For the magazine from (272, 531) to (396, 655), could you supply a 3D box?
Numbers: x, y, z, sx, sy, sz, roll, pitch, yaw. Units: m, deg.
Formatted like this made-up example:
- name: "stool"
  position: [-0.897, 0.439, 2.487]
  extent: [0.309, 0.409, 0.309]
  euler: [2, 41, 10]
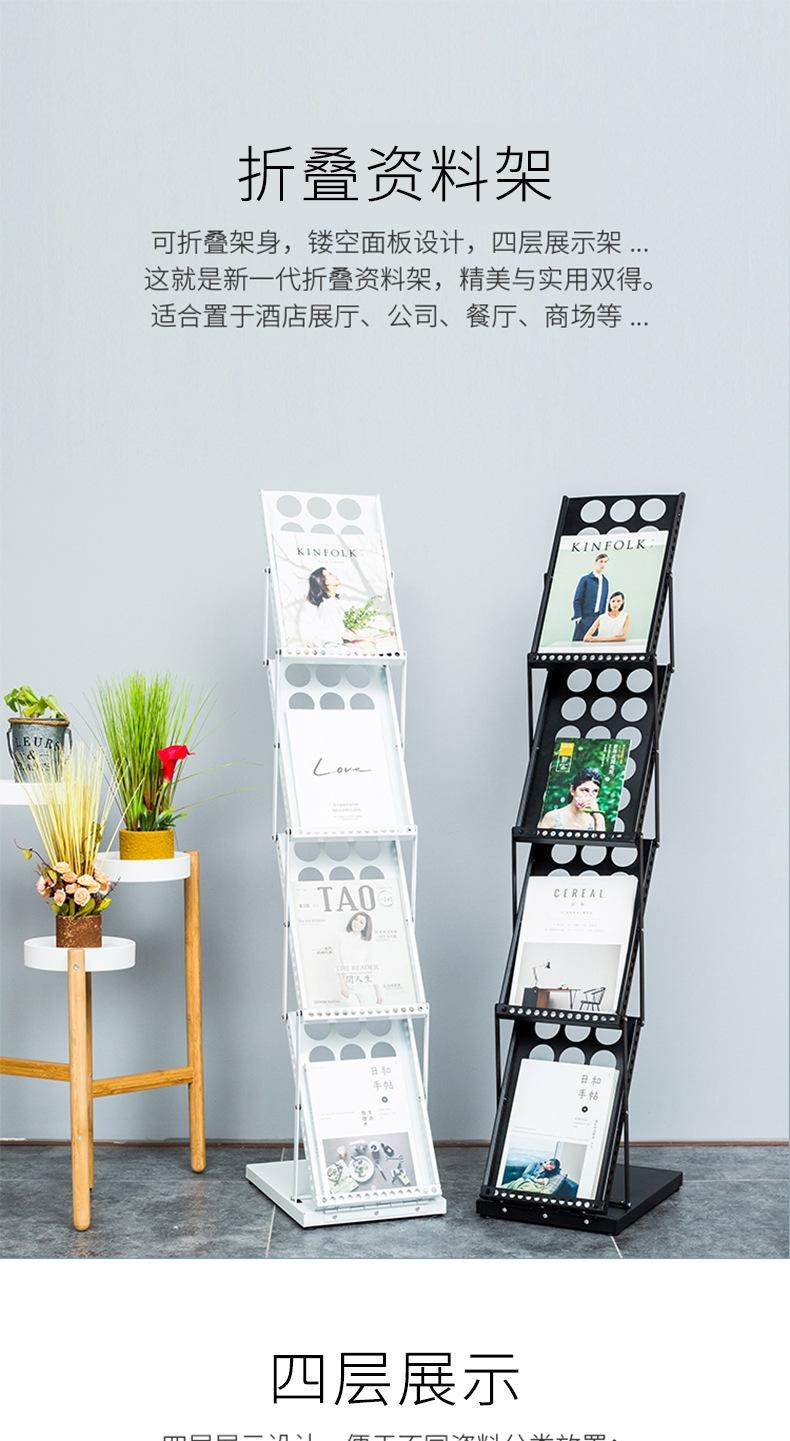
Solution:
- name: "magazine"
  position: [-0.149, -0.284, 3.269]
  extent: [0.286, 0.349, 0.017]
  euler: [5, -29, -28]

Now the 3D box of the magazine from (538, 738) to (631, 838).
- name: "magazine"
  position: [0.426, 0.156, 3.177]
  extent: [0.265, 0.374, 0.007]
  euler: [-2, -44, 22]

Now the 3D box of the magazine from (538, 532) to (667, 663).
- name: "magazine"
  position: [0.471, -0.274, 3.221]
  extent: [0.276, 0.342, 0.015]
  euler: [7, -22, 23]

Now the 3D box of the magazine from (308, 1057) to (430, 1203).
- name: "magazine"
  position: [-0.066, 0.898, 3.125]
  extent: [0.257, 0.291, 0.073]
  euler: [-5, -23, -25]

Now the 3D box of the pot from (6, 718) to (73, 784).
- name: "pot"
  position: [-0.829, 0.066, 3.317]
  extent: [0.140, 0.131, 0.139]
  euler: [0, -9, 0]

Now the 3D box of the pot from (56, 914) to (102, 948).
- name: "pot"
  position: [-0.717, 0.466, 3.230]
  extent: [0.078, 0.057, 0.082]
  euler: [0, -3, 0]

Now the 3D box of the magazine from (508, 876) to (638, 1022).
- name: "magazine"
  position: [0.394, 0.503, 3.135]
  extent: [0.331, 0.386, 0.028]
  euler: [2, -27, 28]

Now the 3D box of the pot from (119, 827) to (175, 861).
- name: "pot"
  position: [-0.592, 0.285, 3.348]
  extent: [0.084, 0.055, 0.085]
  euler: [1, 1, 0]
